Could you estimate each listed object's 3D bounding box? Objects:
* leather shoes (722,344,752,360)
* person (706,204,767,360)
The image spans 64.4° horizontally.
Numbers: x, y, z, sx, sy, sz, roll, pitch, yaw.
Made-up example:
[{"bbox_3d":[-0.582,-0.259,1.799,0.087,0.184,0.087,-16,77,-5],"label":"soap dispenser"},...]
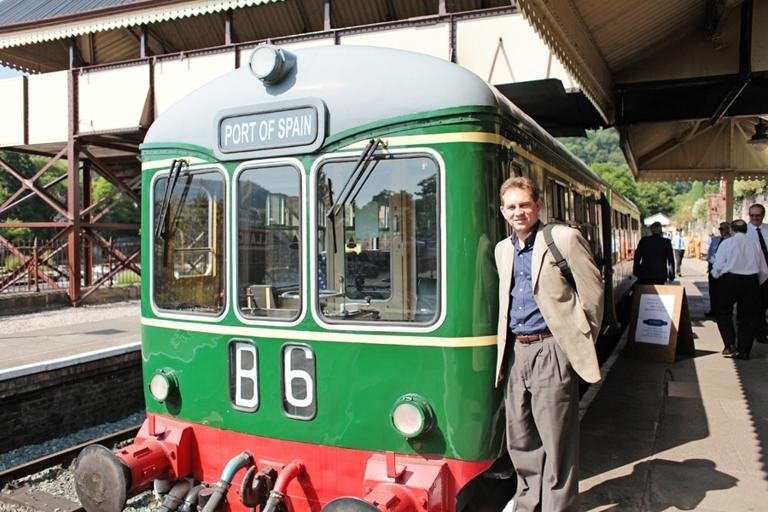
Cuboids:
[{"bbox_3d":[6.253,1.737,10.840,0.193,0.271,0.540,2,-5,-23],"label":"leather shoes"},{"bbox_3d":[6.074,0.653,10.472,0.841,2.473,0.618,-1,8,11],"label":"person"}]
